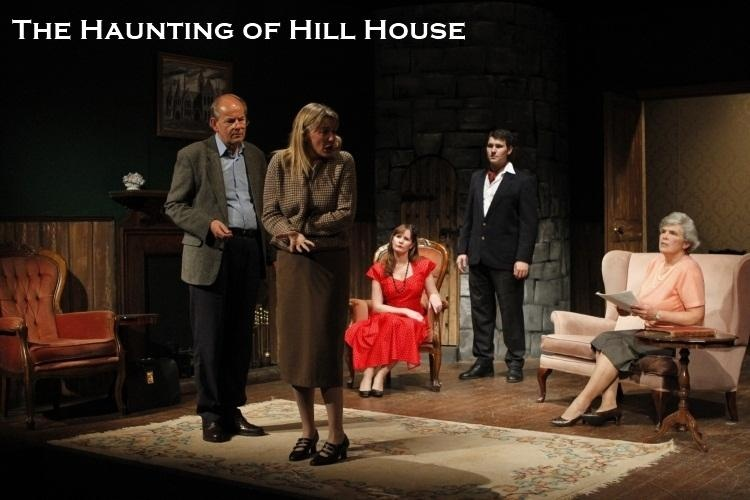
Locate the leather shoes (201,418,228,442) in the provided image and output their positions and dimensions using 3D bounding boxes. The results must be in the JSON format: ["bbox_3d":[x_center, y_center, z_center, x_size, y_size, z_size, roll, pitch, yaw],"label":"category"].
[{"bbox_3d":[-1.056,1.188,4.350,0.103,0.089,0.213,4,-6,-38],"label":"leather shoes"}]

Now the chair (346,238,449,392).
[{"bbox_3d":[0.296,0.541,5.969,1.021,1.402,0.987,-2,-3,40],"label":"chair"}]

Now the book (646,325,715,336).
[{"bbox_3d":[1.985,0.523,4.326,0.390,0.051,0.262,0,3,7],"label":"book"}]

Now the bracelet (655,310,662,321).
[{"bbox_3d":[1.911,0.450,4.467,0.055,0.052,0.013,-5,-1,-19],"label":"bracelet"}]

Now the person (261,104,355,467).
[{"bbox_3d":[-0.389,0.216,3.857,0.540,2.108,0.297,0,4,-2],"label":"person"}]

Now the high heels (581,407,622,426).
[{"bbox_3d":[1.598,1.175,4.641,0.337,0.138,0.112,6,-13,-17],"label":"high heels"}]

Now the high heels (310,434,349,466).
[{"bbox_3d":[-0.267,1.202,3.944,0.239,0.098,0.118,5,-8,-43],"label":"high heels"}]

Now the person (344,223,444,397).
[{"bbox_3d":[0.155,0.506,5.771,0.855,1.449,0.675,-1,4,-8],"label":"person"}]

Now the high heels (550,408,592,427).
[{"bbox_3d":[1.409,1.195,4.699,0.320,0.141,0.106,4,-9,-4],"label":"high heels"}]

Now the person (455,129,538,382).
[{"bbox_3d":[1.128,0.053,6.202,0.730,2.319,0.462,1,4,13],"label":"person"}]

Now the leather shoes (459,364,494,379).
[{"bbox_3d":[0.973,1.170,6.326,0.383,0.142,0.124,3,-8,-23],"label":"leather shoes"}]
